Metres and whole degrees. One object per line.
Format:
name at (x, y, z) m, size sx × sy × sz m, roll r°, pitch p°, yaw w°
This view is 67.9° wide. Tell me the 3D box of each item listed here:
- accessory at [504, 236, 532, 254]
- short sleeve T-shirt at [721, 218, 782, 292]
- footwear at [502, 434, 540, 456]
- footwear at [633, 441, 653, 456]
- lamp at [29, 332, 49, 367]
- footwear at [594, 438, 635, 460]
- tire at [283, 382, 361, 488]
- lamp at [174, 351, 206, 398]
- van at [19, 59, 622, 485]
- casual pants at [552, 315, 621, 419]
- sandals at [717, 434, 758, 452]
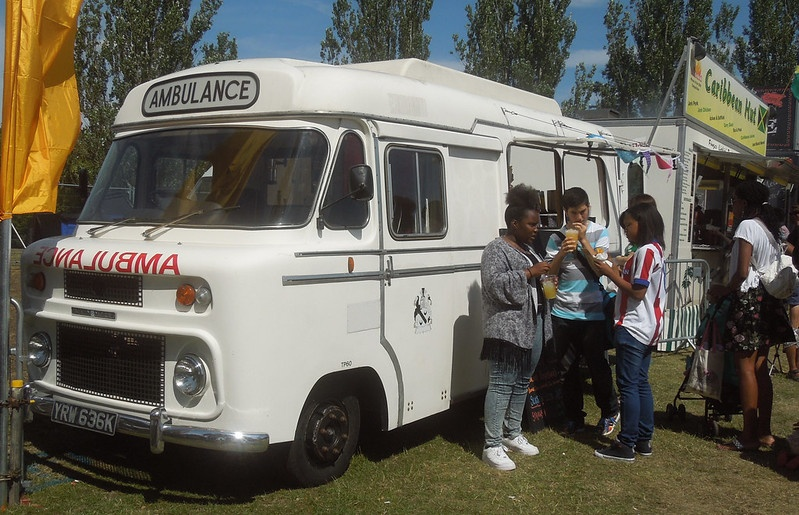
accessory at (1.369, -0.144, 6.814) m, size 0.254 × 0.118 × 0.197 m, roll 19°, pitch 4°, yaw 5°
short sleeve T-shirt at (4.234, -0.027, 6.988) m, size 0.579 × 0.856 × 0.232 m, roll 1°, pitch 7°, yaw -6°
footwear at (1.445, 2.195, 7.048) m, size 0.451 × 0.222 × 0.190 m, roll 0°, pitch 1°, yaw 19°
footwear at (2.884, 2.233, 7.024) m, size 0.108 × 0.133 × 0.291 m, roll -1°, pitch 2°, yaw -6°
lamp at (-3.715, 0.934, 6.113) m, size 0.279 × 0.317 × 0.087 m, roll 4°, pitch 4°, yaw 20°
footwear at (2.549, 2.221, 6.958) m, size 0.512 × 0.260 × 0.191 m, roll 3°, pitch -1°, yaw 36°
tire at (-0.843, 1.753, 6.069) m, size 0.516 × 1.129 × 1.055 m, roll 4°, pitch 3°, yaw 38°
lamp at (-1.934, 1.071, 5.412) m, size 0.385 × 0.436 × 0.141 m, roll -7°, pitch 0°, yaw 16°
van at (-1.002, 0.036, 6.555) m, size 5.701 × 4.354 × 2.257 m, roll -2°, pitch 8°, yaw -29°
casual pants at (2.387, 1.304, 7.661) m, size 0.692 × 1.712 × 0.494 m, roll -6°, pitch -7°, yaw 30°
sandals at (4.118, 2.237, 7.169) m, size 0.392 × 0.134 × 0.177 m, roll -1°, pitch 4°, yaw 23°
